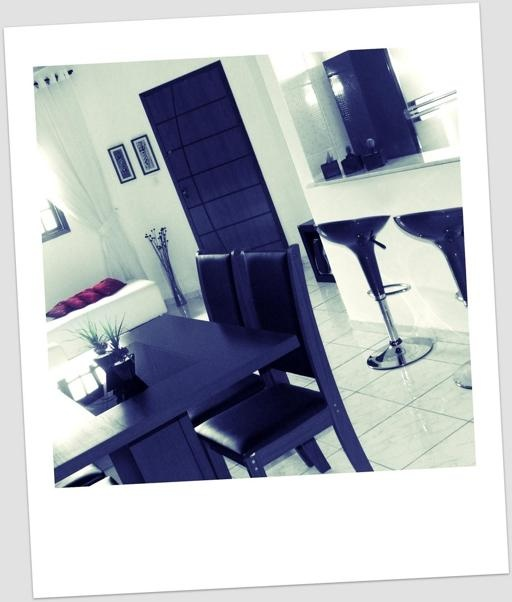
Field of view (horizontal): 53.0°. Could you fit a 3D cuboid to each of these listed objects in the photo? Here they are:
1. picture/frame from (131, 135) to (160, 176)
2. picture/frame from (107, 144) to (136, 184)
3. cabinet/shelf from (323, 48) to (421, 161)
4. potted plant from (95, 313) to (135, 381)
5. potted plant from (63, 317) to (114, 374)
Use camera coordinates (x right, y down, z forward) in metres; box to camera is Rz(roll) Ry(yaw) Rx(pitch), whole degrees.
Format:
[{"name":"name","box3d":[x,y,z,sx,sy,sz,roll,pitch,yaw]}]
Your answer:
[{"name":"picture/frame","box3d":[-1.131,-1.480,5.189,0.248,0.428,0.031,-14,55,-9]},{"name":"picture/frame","box3d":[-1.355,-1.387,5.195,0.202,0.279,0.040,-27,17,-7]},{"name":"cabinet/shelf","box3d":[0.644,-1.322,3.119,0.269,0.467,0.271,-43,40,-5]},{"name":"potted plant","box3d":[-0.583,0.184,2.137,0.125,0.188,0.132,-30,2,-24]},{"name":"potted plant","box3d":[-0.528,0.141,1.717,0.119,0.117,0.123,-10,26,50]}]
